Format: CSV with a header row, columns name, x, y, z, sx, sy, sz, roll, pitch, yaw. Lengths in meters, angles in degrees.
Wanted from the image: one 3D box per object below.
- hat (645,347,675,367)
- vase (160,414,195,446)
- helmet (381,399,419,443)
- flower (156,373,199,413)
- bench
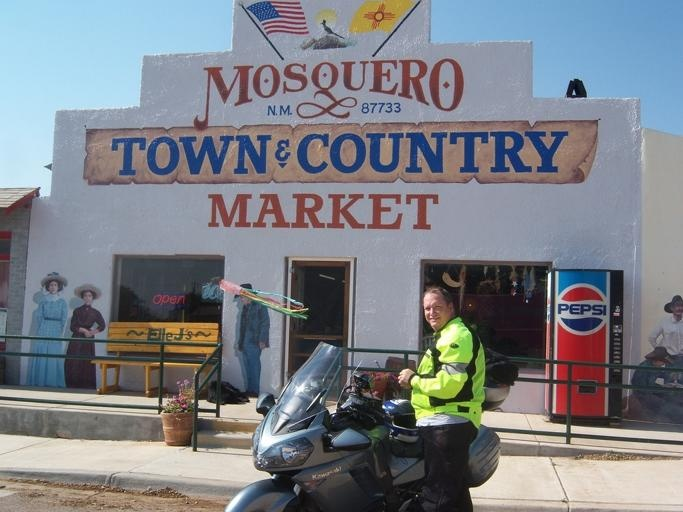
name,x,y,z,sx,sy,sz,roll,pitch,yaw
hat,5.687,1.807,13.815,0.426,0.437,0.172,16,5,17
vase,-2.650,2.848,12.565,0.518,0.410,0.528,-2,-15,5
helmet,0.681,1.850,8.711,0.422,0.424,0.454,7,-10,-43
flower,-2.647,2.282,12.883,0.536,0.351,0.745,1,-5,-1
bench,-3.496,1.957,14.699,2.234,1.325,0.814,1,2,10
